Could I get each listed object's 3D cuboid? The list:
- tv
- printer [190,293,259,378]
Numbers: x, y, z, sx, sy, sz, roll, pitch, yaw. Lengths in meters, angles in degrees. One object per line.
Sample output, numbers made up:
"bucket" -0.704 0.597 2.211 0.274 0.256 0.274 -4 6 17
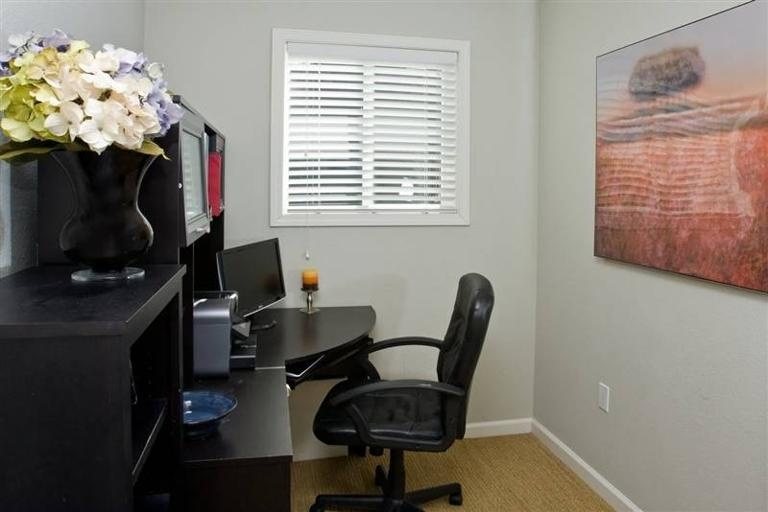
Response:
"tv" -0.676 0.145 2.831 0.126 0.336 0.444 -3 5 17
"printer" -0.658 0.333 2.416 0.273 0.277 0.390 -1 6 -10
